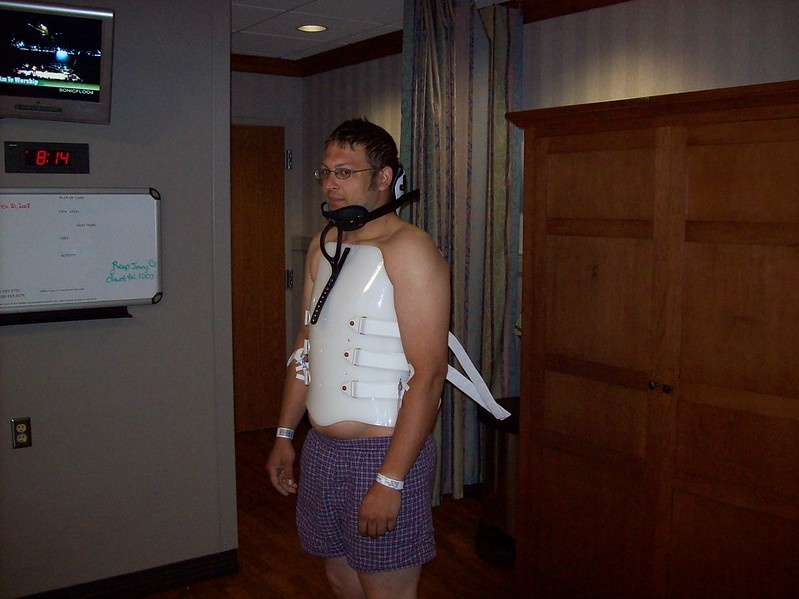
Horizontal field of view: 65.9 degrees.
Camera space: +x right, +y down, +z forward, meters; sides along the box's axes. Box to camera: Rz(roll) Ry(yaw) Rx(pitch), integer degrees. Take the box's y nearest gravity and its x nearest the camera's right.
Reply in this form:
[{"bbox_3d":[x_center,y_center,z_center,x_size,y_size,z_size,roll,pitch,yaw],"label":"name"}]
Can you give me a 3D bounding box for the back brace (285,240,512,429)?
[{"bbox_3d":[-0.028,0.137,1.941,0.598,0.597,0.448,4,-8,-9],"label":"back brace"}]
